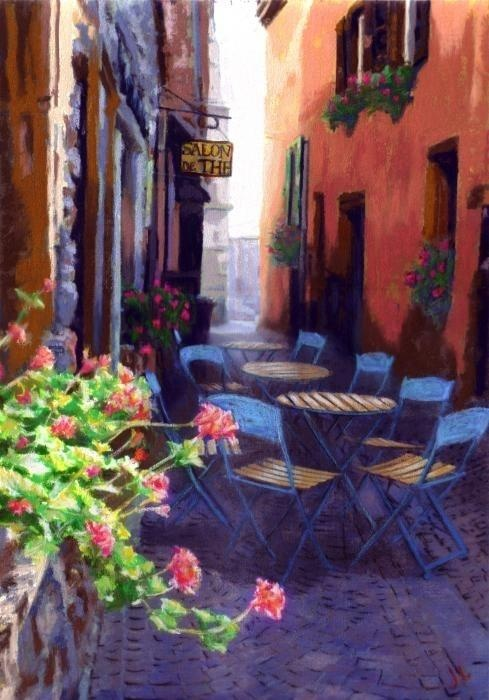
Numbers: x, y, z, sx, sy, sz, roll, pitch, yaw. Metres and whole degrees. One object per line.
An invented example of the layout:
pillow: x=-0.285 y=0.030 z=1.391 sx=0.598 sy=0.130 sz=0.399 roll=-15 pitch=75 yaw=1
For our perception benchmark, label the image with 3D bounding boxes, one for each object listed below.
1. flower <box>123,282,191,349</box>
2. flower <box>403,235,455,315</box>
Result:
flower: x=-0.571 y=-0.192 z=4.466 sx=0.318 sy=0.519 sz=0.353 roll=20 pitch=26 yaw=29
flower: x=1.225 y=-0.467 z=4.445 sx=0.124 sy=0.424 sz=0.348 roll=4 pitch=39 yaw=-14
